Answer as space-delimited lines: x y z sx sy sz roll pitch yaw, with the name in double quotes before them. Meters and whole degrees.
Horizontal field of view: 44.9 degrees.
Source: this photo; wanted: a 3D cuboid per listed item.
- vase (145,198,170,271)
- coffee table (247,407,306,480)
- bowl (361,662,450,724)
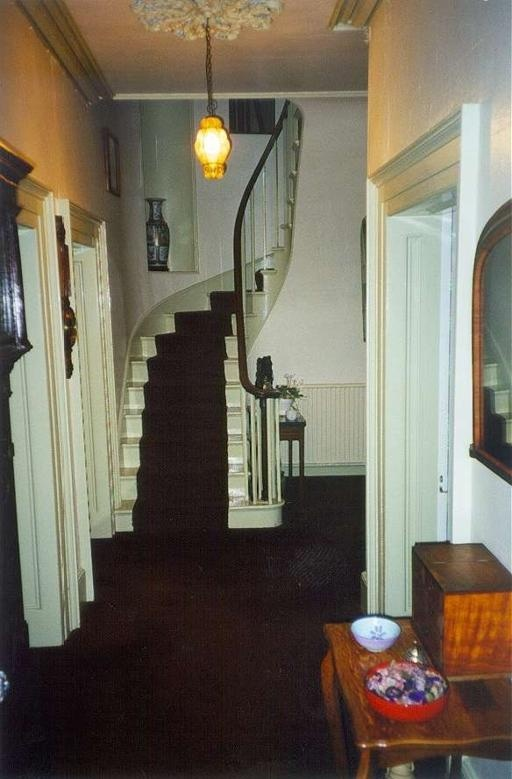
"vase" -0.933 -1.459 5.893 0.228 0.666 0.164 -2 6 -13
"coffee table" 0.194 0.449 4.819 0.280 0.440 0.417 2 6 -7
"bowl" 0.322 0.649 1.399 0.178 0.077 0.191 -1 -44 0
